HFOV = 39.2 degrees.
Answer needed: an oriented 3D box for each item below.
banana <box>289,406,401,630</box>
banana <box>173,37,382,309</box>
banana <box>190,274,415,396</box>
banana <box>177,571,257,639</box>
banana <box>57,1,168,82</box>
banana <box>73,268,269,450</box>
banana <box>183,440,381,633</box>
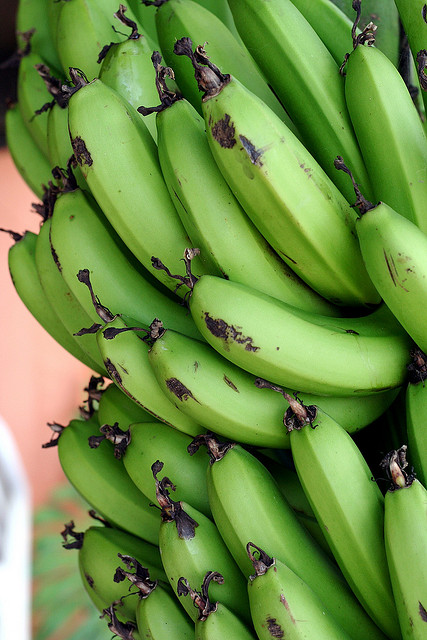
[{"bbox_3d":[0.142,0.197,0.601,0.061,0.238,0.074,-23,-14,16],"label":"banana"},{"bbox_3d":[0.073,-0.147,0.639,0.077,0.306,0.112,-29,11,18],"label":"banana"},{"bbox_3d":[0.077,0.025,0.618,0.262,0.127,0.094,12,-8,-21],"label":"banana"},{"bbox_3d":[0.002,0.296,0.610,0.064,0.082,0.053,-17,-14,-9],"label":"banana"},{"bbox_3d":[-0.141,-0.401,0.945,0.133,0.070,0.215,-54,3,6],"label":"banana"},{"bbox_3d":[-0.042,0.039,0.671,0.070,0.236,0.095,-44,9,-21],"label":"banana"},{"bbox_3d":[0.090,0.286,0.716,0.094,0.338,0.136,-25,20,31],"label":"banana"}]
